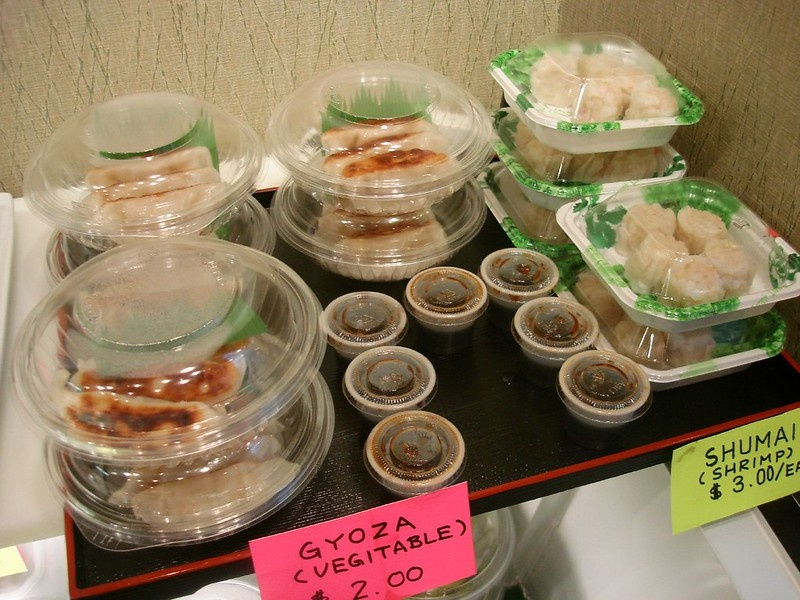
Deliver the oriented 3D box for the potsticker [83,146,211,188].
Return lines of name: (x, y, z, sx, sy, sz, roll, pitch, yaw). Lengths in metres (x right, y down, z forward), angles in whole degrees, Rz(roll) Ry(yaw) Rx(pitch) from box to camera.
potsticker: (-0.474, -0.253, 1.157, 0.121, 0.032, 0.119, -1, 25, 0)

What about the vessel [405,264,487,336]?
vessel: (0.087, -0.001, 1.170, 0.160, 0.058, 0.159, -8, 44, -8)

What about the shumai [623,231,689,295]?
shumai: (0.456, -0.065, 1.091, 0.103, 0.048, 0.113, -7, 41, 10)

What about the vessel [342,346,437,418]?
vessel: (-0.016, 0.148, 1.051, 0.151, 0.072, 0.130, 9, 55, 7)

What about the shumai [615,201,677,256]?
shumai: (0.470, -0.145, 1.155, 0.102, 0.051, 0.098, -8, 51, 14)

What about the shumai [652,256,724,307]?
shumai: (0.497, -0.031, 1.071, 0.096, 0.083, 0.084, -14, 55, 5)

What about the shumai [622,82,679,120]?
shumai: (0.518, -0.402, 1.244, 0.099, 0.025, 0.125, 19, 57, 14)

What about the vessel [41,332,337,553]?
vessel: (-0.363, 0.266, 1.076, 0.470, 0.160, 0.433, 7, 30, -5)

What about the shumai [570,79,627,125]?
shumai: (0.396, -0.396, 1.246, 0.103, 0.028, 0.111, 7, 66, 6)

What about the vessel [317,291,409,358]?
vessel: (-0.065, 0.047, 1.135, 0.157, 0.055, 0.154, 24, 46, 24)

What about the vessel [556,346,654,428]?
vessel: (0.346, 0.152, 1.042, 0.147, 0.054, 0.150, 25, 48, 28)

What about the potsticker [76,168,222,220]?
potsticker: (-0.448, -0.193, 1.123, 0.152, 0.027, 0.122, -22, 39, -28)
